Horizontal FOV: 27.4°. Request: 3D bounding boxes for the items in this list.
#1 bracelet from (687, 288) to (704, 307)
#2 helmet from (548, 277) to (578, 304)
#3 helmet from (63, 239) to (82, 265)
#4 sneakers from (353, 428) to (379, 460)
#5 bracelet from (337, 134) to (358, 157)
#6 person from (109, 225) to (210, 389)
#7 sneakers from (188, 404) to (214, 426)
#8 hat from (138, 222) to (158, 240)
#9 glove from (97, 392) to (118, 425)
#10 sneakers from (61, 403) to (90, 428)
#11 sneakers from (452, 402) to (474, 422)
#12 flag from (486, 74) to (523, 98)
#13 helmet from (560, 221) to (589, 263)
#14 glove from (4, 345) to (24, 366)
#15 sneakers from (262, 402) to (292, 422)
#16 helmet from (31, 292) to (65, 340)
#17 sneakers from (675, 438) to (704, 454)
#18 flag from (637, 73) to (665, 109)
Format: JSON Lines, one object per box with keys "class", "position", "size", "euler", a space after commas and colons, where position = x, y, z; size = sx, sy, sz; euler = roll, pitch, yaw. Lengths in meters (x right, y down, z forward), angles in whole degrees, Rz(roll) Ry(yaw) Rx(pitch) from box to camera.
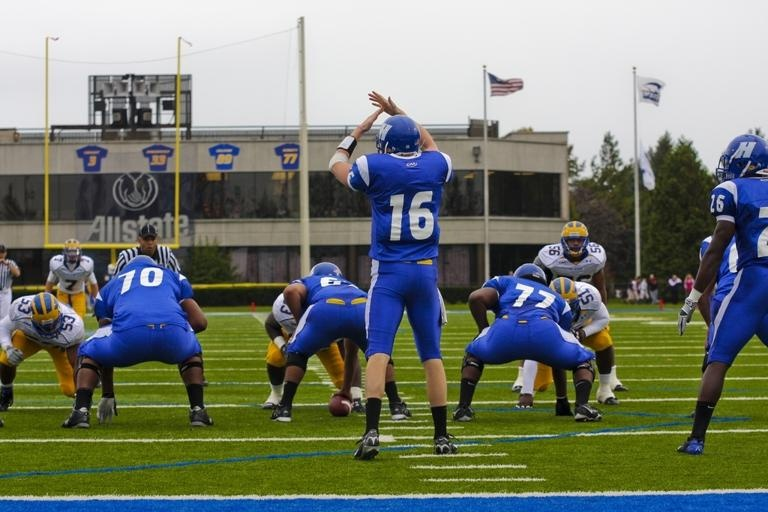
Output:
{"class": "bracelet", "position": [4.128, 0.551, 20.931], "size": [0.162, 0.261, 0.259], "euler": [21, -3, -21]}
{"class": "helmet", "position": [2.620, 0.478, 23.025], "size": [0.401, 0.402, 0.303], "euler": [-13, 24, -9]}
{"class": "helmet", "position": [-5.421, -0.065, 27.489], "size": [0.307, 0.414, 0.411], "euler": [-1, -4, -16]}
{"class": "sneakers", "position": [-0.223, 2.545, 20.631], "size": [0.193, 0.241, 0.527], "euler": [1, -18, -13]}
{"class": "bracelet", "position": [-0.469, -1.484, 21.178], "size": [0.213, 0.304, 0.093], "euler": [27, -10, 20]}
{"class": "person", "position": [-3.469, 0.626, 23.157], "size": [1.273, 2.163, 0.709], "euler": [2, -2, -3]}
{"class": "sneakers", "position": [-2.512, 2.215, 21.810], "size": [0.309, 0.265, 0.297], "euler": [-2, 13, -8]}
{"class": "hat", "position": [-3.373, -0.402, 22.818], "size": [0.306, 0.266, 0.457], "euler": [0, -7, -18]}
{"class": "glove", "position": [-3.854, 2.149, 22.009], "size": [0.290, 0.351, 0.163], "euler": [3, 10, -17]}
{"class": "sneakers", "position": [-4.209, 2.275, 21.678], "size": [0.176, 0.207, 0.475], "euler": [4, -8, -33]}
{"class": "sneakers", "position": [1.119, 2.209, 22.018], "size": [0.270, 0.255, 0.595], "euler": [1, -1, 0]}
{"class": "flag", "position": [3.386, -4.772, 43.655], "size": [0.888, 0.718, 2.614], "euler": [1, 13, 4]}
{"class": "helmet", "position": [2.915, -0.225, 24.185], "size": [0.427, 0.608, 0.597], "euler": [-1, 0, 7]}
{"class": "glove", "position": [-5.275, 1.447, 22.581], "size": [0.251, 0.259, 0.245], "euler": [-4, 13, -15]}
{"class": "sneakers", "position": [-1.416, 2.203, 22.063], "size": [0.282, 0.250, 0.264], "euler": [-1, 13, -3]}
{"class": "helmet", "position": [-4.793, 0.857, 22.468], "size": [0.412, 0.512, 0.545], "euler": [-10, 35, -24]}
{"class": "sneakers", "position": [4.029, 2.516, 20.693], "size": [0.339, 0.200, 0.152], "euler": [2, 13, 9]}
{"class": "flag", "position": [7.569, -4.743, 44.912], "size": [0.678, 0.731, 0.428], "euler": [4, 14, 18]}
